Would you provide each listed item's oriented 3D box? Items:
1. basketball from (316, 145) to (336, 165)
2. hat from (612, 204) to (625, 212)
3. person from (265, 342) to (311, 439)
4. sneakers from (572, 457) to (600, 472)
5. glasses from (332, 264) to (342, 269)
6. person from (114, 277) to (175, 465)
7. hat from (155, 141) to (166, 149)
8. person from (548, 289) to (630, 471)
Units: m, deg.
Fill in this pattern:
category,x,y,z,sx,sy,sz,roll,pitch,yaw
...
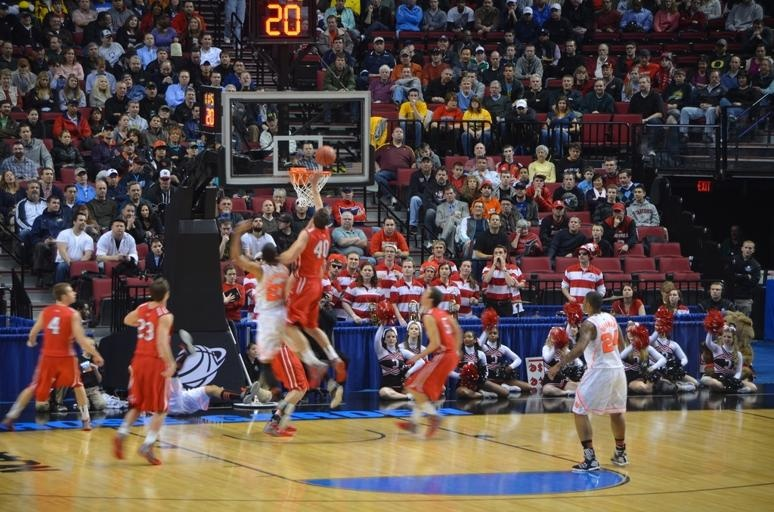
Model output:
category,x,y,z,sx,sy,sz,roll,pitch,yaw
basketball,-1.140,-1.870,22.773,0.342,0.356,0.364,5,-37,-8
hat,5.466,-1.142,28.885,0.236,0.193,0.406,1,-7,11
person,-1.790,2.494,21.945,0.703,1.785,0.967,1,11,-2
sneakers,3.412,3.576,20.866,0.553,0.284,0.199,2,1,10
glasses,-1.039,0.218,25.573,0.117,0.043,0.125,8,-23,-17
person,-4.036,1.989,20.661,0.909,3.060,0.811,-1,11,-12
hat,-5.249,-2.576,28.224,0.215,0.160,0.283,0,-5,-29
person,3.606,2.168,20.975,1.165,2.996,0.856,-2,12,-17
